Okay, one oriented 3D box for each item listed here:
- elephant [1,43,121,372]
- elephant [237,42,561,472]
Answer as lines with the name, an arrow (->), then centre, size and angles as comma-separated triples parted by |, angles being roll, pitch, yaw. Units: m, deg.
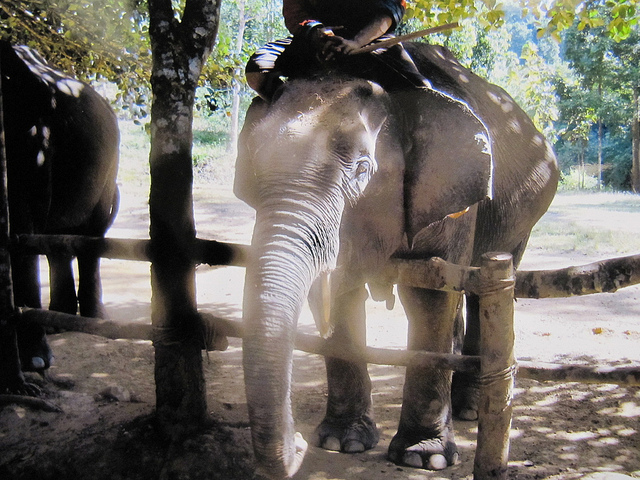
elephant -> -2.297, -0.344, 6.068 | 0.843, 2.234, 2.331 | 2, 0, -8
elephant -> 0.547, -0.035, 4.825 | 1.538, 2.696, 2.587 | 3, 0, 34
